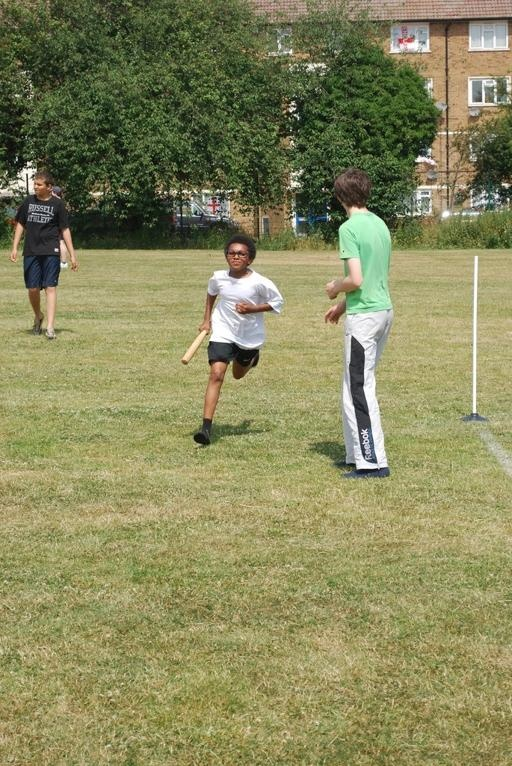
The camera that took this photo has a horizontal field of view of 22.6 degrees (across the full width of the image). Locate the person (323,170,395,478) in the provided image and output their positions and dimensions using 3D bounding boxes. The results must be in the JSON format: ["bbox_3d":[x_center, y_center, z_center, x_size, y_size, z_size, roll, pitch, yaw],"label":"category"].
[{"bbox_3d":[0.576,-0.316,7.103,0.365,1.710,0.541,1,8,4],"label":"person"}]

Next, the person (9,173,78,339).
[{"bbox_3d":[-2.170,-1.303,13.169,0.623,1.690,1.148,-2,9,-11],"label":"person"}]

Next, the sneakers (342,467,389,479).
[{"bbox_3d":[0.614,0.504,7.185,0.252,0.113,0.089,2,2,-1],"label":"sneakers"}]

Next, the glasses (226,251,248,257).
[{"bbox_3d":[-0.132,-0.800,7.980,0.161,0.039,0.076,6,10,30],"label":"glasses"}]

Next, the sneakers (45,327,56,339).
[{"bbox_3d":[-2.097,-0.503,13.175,0.063,0.080,0.192,-1,11,-13],"label":"sneakers"}]

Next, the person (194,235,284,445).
[{"bbox_3d":[-0.109,-0.275,8.160,0.534,1.320,0.810,0,8,1],"label":"person"}]

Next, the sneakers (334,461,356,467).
[{"bbox_3d":[0.519,0.482,7.513,0.107,0.048,0.040,-5,3,43],"label":"sneakers"}]

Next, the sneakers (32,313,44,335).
[{"bbox_3d":[-2.299,-0.614,13.574,0.105,0.309,0.080,4,5,-4],"label":"sneakers"}]

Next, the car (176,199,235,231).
[{"bbox_3d":[-1.868,-6.124,47.892,2.361,1.185,1.212,-2,14,-5],"label":"car"}]
